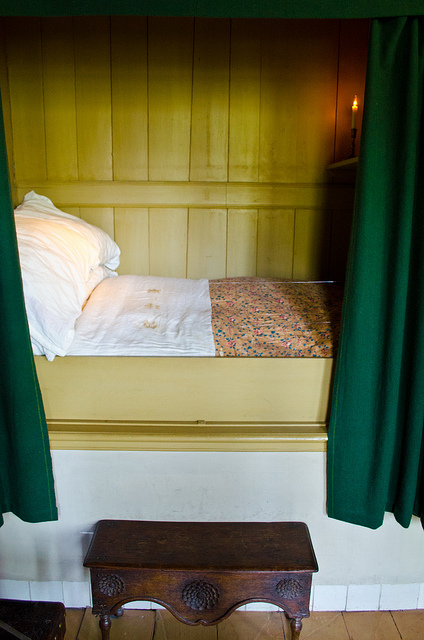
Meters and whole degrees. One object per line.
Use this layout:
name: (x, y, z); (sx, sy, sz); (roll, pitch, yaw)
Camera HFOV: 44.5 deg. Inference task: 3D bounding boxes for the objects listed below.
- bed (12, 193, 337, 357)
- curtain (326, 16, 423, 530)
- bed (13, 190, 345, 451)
bed: (-0.112, -0.032, 1.606); (0.786, 0.271, 0.661); (0, 22, -5)
curtain: (0.456, -0.061, 1.337); (0.266, 1.316, 0.146); (3, 14, 13)
bed: (-0.004, 0.063, 1.550); (0.930, 0.345, 0.792); (0, 32, -2)
